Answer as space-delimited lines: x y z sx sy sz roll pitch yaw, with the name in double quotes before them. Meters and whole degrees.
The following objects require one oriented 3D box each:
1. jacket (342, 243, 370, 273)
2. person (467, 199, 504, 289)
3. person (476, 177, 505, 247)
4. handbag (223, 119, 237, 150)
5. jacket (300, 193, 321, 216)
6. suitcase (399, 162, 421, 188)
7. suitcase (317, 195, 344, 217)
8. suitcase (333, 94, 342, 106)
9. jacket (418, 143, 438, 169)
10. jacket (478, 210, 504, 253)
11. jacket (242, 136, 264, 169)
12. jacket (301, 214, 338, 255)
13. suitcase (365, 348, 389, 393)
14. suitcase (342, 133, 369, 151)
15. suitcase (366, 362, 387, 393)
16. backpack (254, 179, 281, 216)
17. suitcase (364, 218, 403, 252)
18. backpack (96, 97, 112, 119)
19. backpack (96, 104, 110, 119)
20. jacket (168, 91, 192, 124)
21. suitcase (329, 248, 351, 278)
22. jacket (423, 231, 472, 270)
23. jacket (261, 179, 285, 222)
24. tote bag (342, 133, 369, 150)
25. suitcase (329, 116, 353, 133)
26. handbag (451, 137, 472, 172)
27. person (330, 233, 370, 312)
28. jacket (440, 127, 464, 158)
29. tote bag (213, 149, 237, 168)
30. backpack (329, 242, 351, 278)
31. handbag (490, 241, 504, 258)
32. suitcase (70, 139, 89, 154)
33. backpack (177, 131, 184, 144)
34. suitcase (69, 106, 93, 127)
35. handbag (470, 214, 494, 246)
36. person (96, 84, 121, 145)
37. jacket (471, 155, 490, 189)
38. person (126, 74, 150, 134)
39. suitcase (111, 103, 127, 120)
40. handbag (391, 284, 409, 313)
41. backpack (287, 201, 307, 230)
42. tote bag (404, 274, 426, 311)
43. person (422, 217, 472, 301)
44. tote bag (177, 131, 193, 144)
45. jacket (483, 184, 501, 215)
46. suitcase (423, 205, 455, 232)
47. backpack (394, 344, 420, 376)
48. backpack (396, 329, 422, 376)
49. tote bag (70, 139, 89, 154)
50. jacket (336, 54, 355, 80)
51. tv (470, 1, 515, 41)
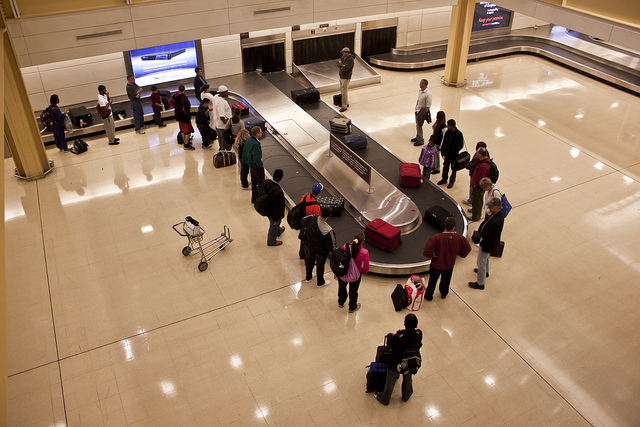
"jacket" 0.614 0.809 7.602 0.456 0.448 0.258 29 59 30
"person" 3.310 0.687 8.605 0.484 1.770 0.649 13 48 15
"person" 3.382 0.018 8.657 0.458 1.486 0.503 -5 20 -2
"handbag" -2.296 -2.127 11.437 0.326 0.544 0.575 -5 48 -7
"jacket" -0.193 -0.147 8.411 0.312 0.470 0.239 13 44 41
"suitcase" 2.183 -0.966 10.522 0.471 0.322 0.663 2 44 1
"suitcase" 0.279 -0.154 9.656 0.399 0.166 0.552 3 25 8
"suitcase" 0.571 -3.661 14.011 0.332 0.324 0.181 -23 43 -26
"jacket" 2.680 -1.409 10.665 0.426 0.703 0.266 5 36 12
"jacket" 3.197 0.339 8.099 0.380 0.784 0.375 5 37 12
"jacket" -1.592 -1.387 9.970 0.410 0.689 0.698 -11 23 -37
"jacket" 0.024 0.464 7.928 0.729 0.745 0.244 28 46 35
"suitcase" 0.928 2.586 6.984 0.476 0.941 0.288 1 46 0
"suitcase" 0.976 -1.966 11.745 0.561 0.211 0.432 -9 37 -17
"suitcase" 0.929 2.678 7.070 0.306 0.443 0.267 4 16 8
"backpack" -1.153 -0.211 8.697 0.396 0.605 0.651 41 49 18
"suitcase" 1.305 0.409 9.042 0.747 0.424 0.570 35 57 29
"backpack" -5.861 -2.848 11.704 0.268 0.387 0.521 -19 4 -22
"backpack" -5.893 -2.760 11.708 0.289 0.399 0.171 -5 36 -2
"jacket" -3.770 -2.877 11.754 0.426 0.765 0.612 -16 38 -17
"suitcase" 0.376 0.895 7.726 0.324 0.503 0.461 -2 32 -17
"jacket" 2.327 0.651 7.934 0.869 0.848 0.315 -4 39 1
"jacket" -0.971 -0.249 8.788 0.333 0.635 0.610 -18 49 -28
"tote bag" 0.980 -1.961 11.740 0.542 0.205 0.429 -6 34 -14
"suitcase" 0.573 -2.548 12.454 0.544 0.226 0.424 4 35 7
"handbag" 3.460 -1.296 10.281 0.575 0.883 0.362 -27 42 -13
"person" 0.522 1.104 7.931 0.688 1.659 0.509 -6 34 -14
"jacket" 3.108 -1.667 10.237 0.419 0.616 0.247 40 53 23
"tote bag" -2.521 -1.426 11.407 0.427 0.386 0.183 -17 43 -25
"backpack" 0.361 0.834 7.649 0.323 0.612 0.438 -5 61 -13
"handbag" 3.704 0.765 9.012 0.329 0.352 0.080 6 6 42
"suitcase" -6.657 -1.829 11.944 0.363 0.267 0.172 -28 35 11
"backpack" -3.981 -2.152 12.265 0.194 0.300 0.283 -1 4 18
"suitcase" -7.015 -2.856 12.610 0.467 0.343 0.665 -11 54 -30
"handbag" 3.049 0.365 8.363 0.516 0.553 0.396 -9 47 0
"person" -6.145 -2.778 12.451 0.486 1.873 0.731 -17 72 -25
"jacket" 3.423 -0.873 9.173 0.306 0.583 0.425 30 57 9
"person" -5.496 -3.215 12.963 0.561 2.003 0.703 -9 56 -17
"suitcase" -6.108 -3.088 13.066 0.363 0.256 0.676 -20 40 -20
"handbag" 1.505 1.601 8.146 0.099 0.412 0.432 12 29 -26
"backpack" -0.469 0.012 8.473 0.491 0.538 0.379 -4 40 -11
"tote bag" 1.782 1.532 8.130 0.284 0.558 0.429 -2 39 -8
"person" 2.313 0.835 8.071 0.839 1.796 0.454 -6 35 -3
"tote bag" -3.881 -2.130 12.361 0.261 0.402 0.358 3 4 23
"jacket" 3.292 -0.258 8.281 0.317 0.491 0.598 0 -5 9
"suitcase" 2.572 0.081 9.462 0.443 0.193 0.585 -34 60 -15
"backpack" 1.319 2.254 6.608 0.354 0.507 0.495 5 48 1
"backpack" 1.359 2.177 6.658 0.338 0.678 0.382 -1 36 4
"tote bag" -6.669 -1.838 11.966 0.373 0.282 0.163 -33 19 10
"jacket" 0.755 -4.596 13.694 0.580 0.866 0.719 5 53 -2
"tv" 7.231 -8.166 18.014 2.099 1.340 0.630 -20 39 -21
